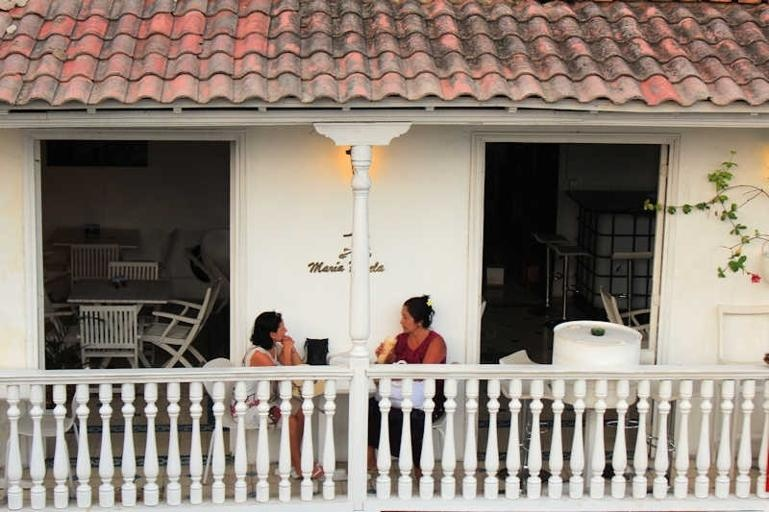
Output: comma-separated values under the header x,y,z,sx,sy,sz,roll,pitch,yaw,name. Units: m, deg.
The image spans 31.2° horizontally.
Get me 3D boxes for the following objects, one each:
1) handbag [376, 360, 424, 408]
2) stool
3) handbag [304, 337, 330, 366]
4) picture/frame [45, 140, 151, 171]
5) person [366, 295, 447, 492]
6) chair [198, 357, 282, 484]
x,y,z,sx,sy,sz,roll,pitch,yaw,name
0.174,1.439,15.244,0.521,0.544,1.009,0,-2,1,handbag
2.969,0.352,22.541,0.471,1.020,1.169,-7,20,-12,stool
-0.791,1.107,15.984,0.294,0.272,0.152,0,22,-1,handbag
-4.828,-1.693,23.093,1.694,0.424,0.243,0,-3,-15,picture/frame
0.277,1.483,15.632,0.937,2.085,0.896,0,-3,-8,person
-1.625,1.868,15.568,0.838,1.413,1.564,0,-2,-7,chair
